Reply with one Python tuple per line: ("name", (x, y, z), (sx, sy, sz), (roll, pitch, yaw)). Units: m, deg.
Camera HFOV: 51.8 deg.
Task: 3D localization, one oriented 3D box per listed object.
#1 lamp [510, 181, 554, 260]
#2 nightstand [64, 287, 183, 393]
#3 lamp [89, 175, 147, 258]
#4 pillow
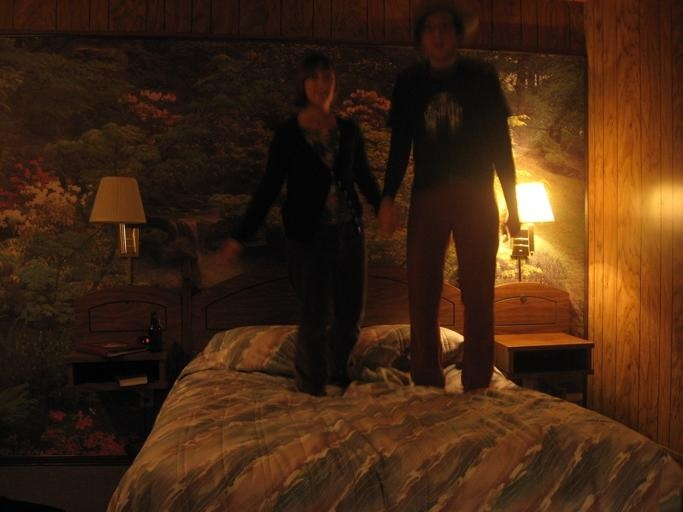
("lamp", (1.258, -0.246, 4.623), (0.300, 0.488, 0.295), (3, -5, -36))
("nightstand", (-1.345, 0.524, 4.363), (0.642, 0.655, 0.358), (-1, -4, -9))
("lamp", (-1.418, -0.247, 4.405), (0.421, 0.620, 0.323), (-1, -10, -11))
("pillow", (-0.156, 0.559, 4.294), (1.088, 0.280, 0.619), (0, 1, -7))
